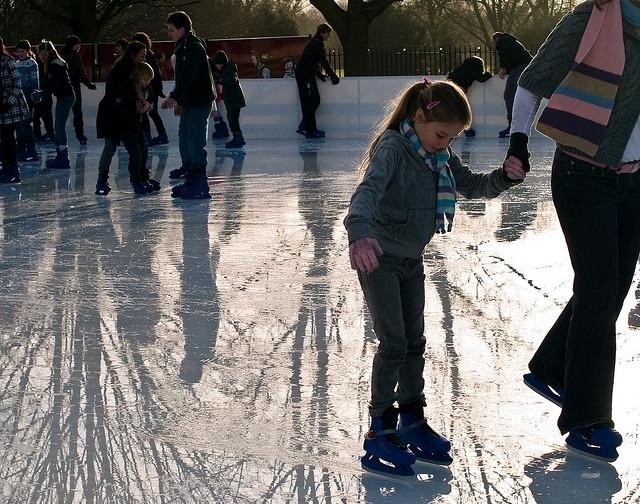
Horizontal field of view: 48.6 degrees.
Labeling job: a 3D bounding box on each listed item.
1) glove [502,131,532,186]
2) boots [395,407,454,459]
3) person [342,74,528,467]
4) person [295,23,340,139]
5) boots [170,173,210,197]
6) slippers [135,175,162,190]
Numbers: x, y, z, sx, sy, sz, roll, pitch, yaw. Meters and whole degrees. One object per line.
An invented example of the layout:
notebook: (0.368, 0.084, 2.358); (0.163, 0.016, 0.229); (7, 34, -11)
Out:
glove: (0.739, -0.371, 2.693); (0.111, 0.068, 0.189); (32, 47, 12)
boots: (0.394, 0.703, 2.740); (0.098, 0.175, 0.266); (-9, 9, -39)
person: (0.369, 0.081, 2.684); (0.782, 1.422, 0.434); (-12, 17, -38)
person: (-0.118, -3.818, 15.919); (0.956, 2.495, 0.694); (-1, 13, 4)
boots: (-1.570, -0.761, 8.631); (0.317, 0.250, 0.373); (1, 5, -18)
slippers: (-2.219, -0.878, 9.098); (0.131, 0.104, 0.317); (-22, -16, 33)
